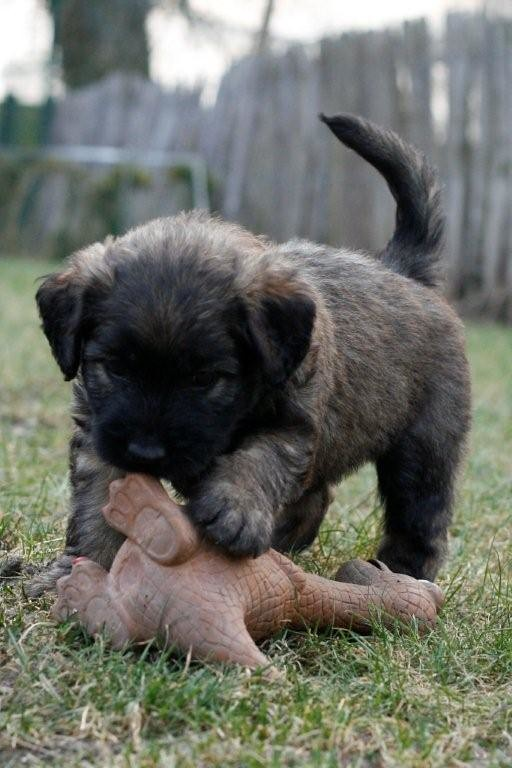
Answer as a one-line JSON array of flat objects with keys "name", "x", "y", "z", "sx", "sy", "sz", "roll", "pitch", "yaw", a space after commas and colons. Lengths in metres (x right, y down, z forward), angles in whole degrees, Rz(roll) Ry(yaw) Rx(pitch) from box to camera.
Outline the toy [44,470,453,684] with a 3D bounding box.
[{"name": "toy", "x": 0.005, "y": 0.486, "z": 2.307, "sx": 1.019, "sy": 0.400, "sz": 0.660, "roll": 3, "pitch": -5, "yaw": -15}]

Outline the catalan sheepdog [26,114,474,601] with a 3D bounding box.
[{"name": "catalan sheepdog", "x": 0.091, "y": -0.137, "z": 2.849, "sx": 0.792, "sy": 1.259, "sz": 1.424, "roll": 16, "pitch": 16, "yaw": 34}]
